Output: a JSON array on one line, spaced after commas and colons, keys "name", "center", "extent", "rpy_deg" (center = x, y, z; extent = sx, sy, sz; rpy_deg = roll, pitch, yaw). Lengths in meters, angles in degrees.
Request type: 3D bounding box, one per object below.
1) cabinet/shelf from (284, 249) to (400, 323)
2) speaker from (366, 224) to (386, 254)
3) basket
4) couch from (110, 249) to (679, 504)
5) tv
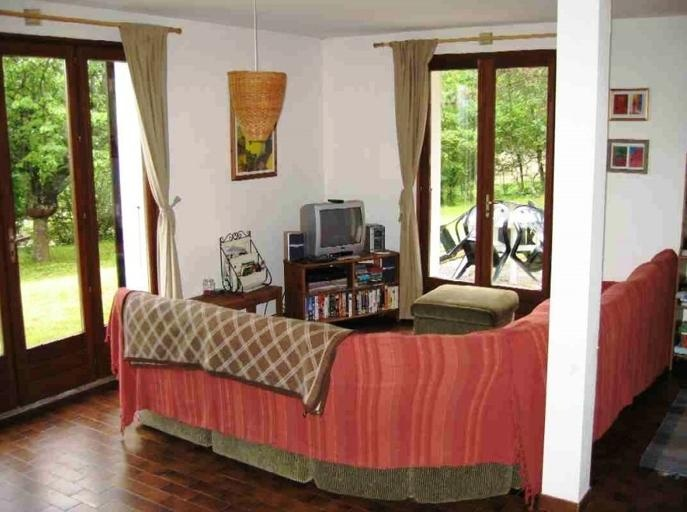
[{"name": "cabinet/shelf", "center": [-0.008, 0.353, 6.331], "extent": [1.228, 0.698, 0.395], "rpy_deg": [-5, 11, -34]}, {"name": "speaker", "center": [0.354, -0.196, 6.489], "extent": [0.277, 0.346, 0.244], "rpy_deg": [6, 9, 45]}, {"name": "basket", "center": [-0.472, -0.815, 3.232], "extent": [0.330, 0.381, 0.352], "rpy_deg": [1, 10, 1]}, {"name": "couch", "center": [0.756, 0.816, 3.971], "extent": [2.069, 0.652, 1.927], "rpy_deg": [6, 13, 33]}, {"name": "tv", "center": [-0.127, -0.288, 6.435], "extent": [0.665, 0.612, 0.376], "rpy_deg": [-7, 10, -35]}]
